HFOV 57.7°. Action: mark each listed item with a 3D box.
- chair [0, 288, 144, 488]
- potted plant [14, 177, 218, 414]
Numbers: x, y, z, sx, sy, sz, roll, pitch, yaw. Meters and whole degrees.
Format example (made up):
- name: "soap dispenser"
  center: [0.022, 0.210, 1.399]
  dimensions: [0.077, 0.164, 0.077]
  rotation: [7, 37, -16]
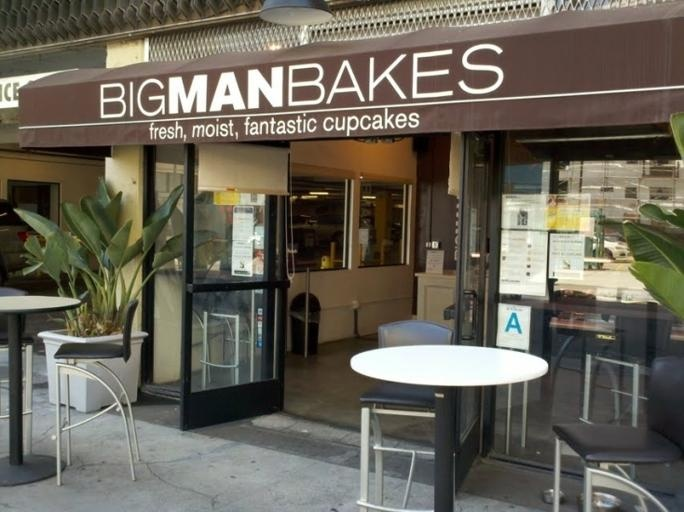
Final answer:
- name: "chair"
  center: [-2.071, 0.936, 4.436]
  dimensions: [1.099, 1.223, 0.724]
  rotation: [1, 4, 3]
- name: "potted plant"
  center: [-2.206, 0.200, 6.252]
  dimensions: [1.618, 1.727, 1.588]
  rotation: [3, 2, 44]
